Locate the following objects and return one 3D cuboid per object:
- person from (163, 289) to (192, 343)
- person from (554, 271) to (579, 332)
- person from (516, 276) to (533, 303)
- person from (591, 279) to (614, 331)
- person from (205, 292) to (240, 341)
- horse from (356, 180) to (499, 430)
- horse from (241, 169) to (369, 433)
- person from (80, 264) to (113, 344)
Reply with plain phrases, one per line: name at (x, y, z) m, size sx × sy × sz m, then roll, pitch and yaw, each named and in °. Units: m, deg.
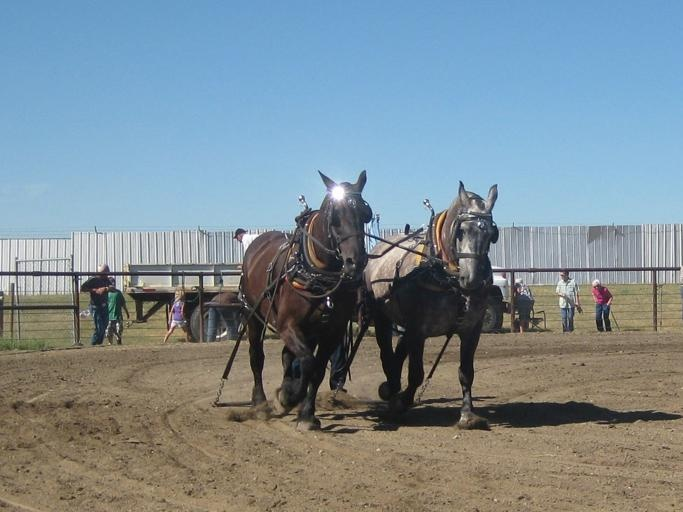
person at (-3.759, 1.363, 20.614) m, size 0.588 × 1.281 × 0.902 m, roll -1°, pitch 6°, yaw -11°
person at (5.695, 1.047, 22.117) m, size 0.526 × 1.719 × 2.518 m, roll 2°, pitch 6°, yaw 15°
person at (4.569, 0.768, 22.086) m, size 0.407 × 0.501 × 1.215 m, roll 1°, pitch 6°, yaw 12°
person at (6.512, 1.165, 22.018) m, size 0.438 × 1.380 × 2.086 m, roll 2°, pitch 6°, yaw 18°
person at (-2.683, 1.353, 20.386) m, size 0.760 × 1.013 × 0.749 m, roll -1°, pitch 6°, yaw -10°
horse at (1.235, 0.638, 12.021) m, size 1.164 × 3.266 × 2.367 m, roll -2°, pitch 6°, yaw -19°
horse at (-0.471, 0.556, 11.928) m, size 0.957 × 3.319 × 2.379 m, roll -3°, pitch 6°, yaw -31°
person at (-5.359, 1.125, 19.605) m, size 0.617 × 1.518 × 0.483 m, roll -2°, pitch 6°, yaw -22°
